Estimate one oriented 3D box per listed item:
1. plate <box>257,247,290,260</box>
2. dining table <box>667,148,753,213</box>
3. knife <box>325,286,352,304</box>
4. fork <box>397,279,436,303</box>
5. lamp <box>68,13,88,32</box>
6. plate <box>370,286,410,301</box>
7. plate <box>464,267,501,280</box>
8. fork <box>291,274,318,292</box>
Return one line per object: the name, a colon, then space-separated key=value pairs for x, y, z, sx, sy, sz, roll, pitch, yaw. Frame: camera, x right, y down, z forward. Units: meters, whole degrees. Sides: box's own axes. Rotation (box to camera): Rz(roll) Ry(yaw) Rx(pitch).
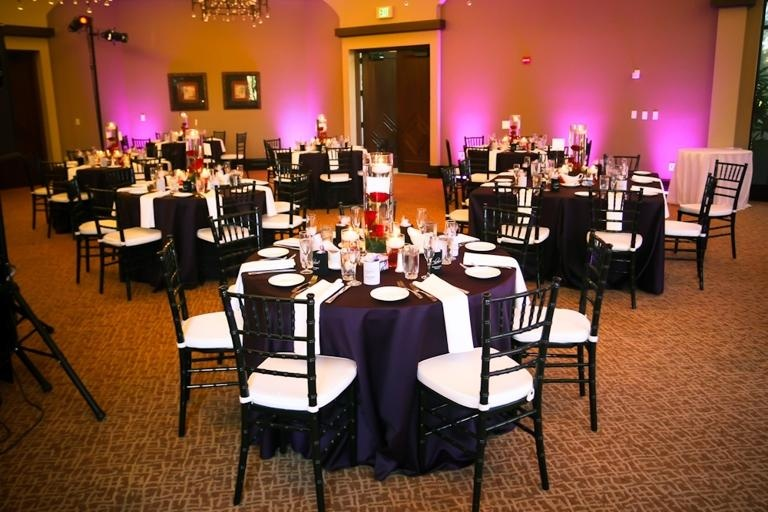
plate: x=-0.937 y=-0.016 z=4.959 sx=0.145 sy=0.022 sz=0.147 roll=-7 pitch=25 yaw=-23
dining table: x=5.538 y=-1.478 z=10.021 sx=1.389 sy=1.058 sz=1.417 roll=4 pitch=18 yaw=17
knife: x=-0.333 y=0.286 z=4.218 sx=0.056 sy=0.017 sz=0.326 roll=19 pitch=25 yaw=19
fork: x=0.242 y=0.266 z=4.249 sx=0.096 sy=0.039 sz=0.420 roll=-12 pitch=18 yaw=-14
lamp: x=-6.056 y=-4.572 z=11.554 sx=0.359 sy=0.302 sz=0.852 roll=-11 pitch=18 yaw=-27
plate: x=0.042 y=0.281 z=4.180 sx=0.142 sy=0.016 sz=0.147 roll=-6 pitch=25 yaw=-11
plate: x=0.768 y=0.133 z=4.520 sx=0.271 sy=0.043 sz=0.228 roll=0 pitch=16 yaw=9
fork: x=-0.579 y=0.211 z=4.395 sx=0.065 sy=0.050 sz=0.319 roll=11 pitch=9 yaw=7
